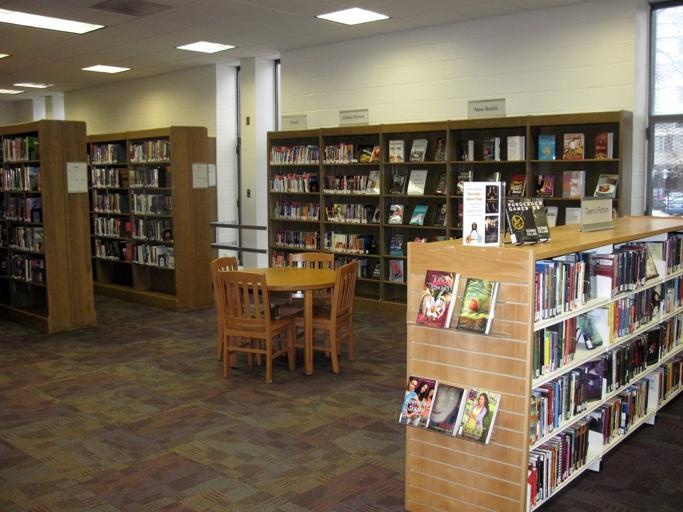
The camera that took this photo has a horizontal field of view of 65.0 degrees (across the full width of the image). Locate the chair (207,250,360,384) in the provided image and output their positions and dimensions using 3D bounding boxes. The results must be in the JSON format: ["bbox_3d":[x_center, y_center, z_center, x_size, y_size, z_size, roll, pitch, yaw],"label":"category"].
[{"bbox_3d":[-0.750,0.557,5.835,1.421,0.785,1.365,-3,3,-30],"label":"chair"}]
